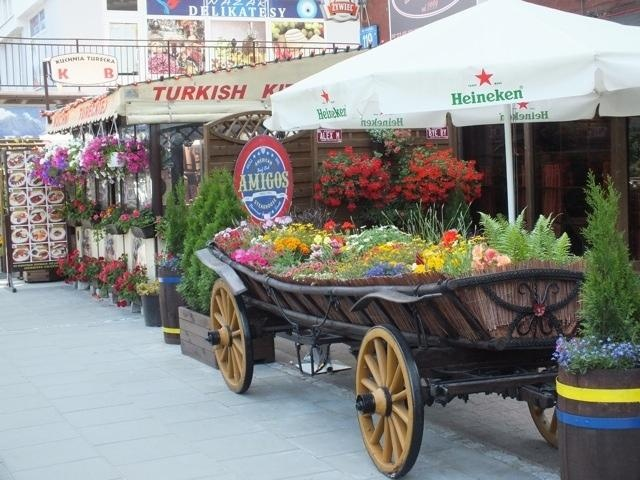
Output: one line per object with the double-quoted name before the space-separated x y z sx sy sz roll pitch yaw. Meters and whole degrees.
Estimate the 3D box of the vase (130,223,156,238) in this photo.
"vase" -2.650 -0.121 9.581 0.495 0.221 0.161 3 6 40

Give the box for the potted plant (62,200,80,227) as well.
"potted plant" -4.566 -0.506 11.764 0.232 0.295 0.394 -16 15 -25

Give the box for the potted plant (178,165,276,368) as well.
"potted plant" -1.105 0.258 6.887 0.730 2.009 1.240 -5 6 -36

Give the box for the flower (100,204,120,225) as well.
"flower" -3.415 -0.401 10.494 0.268 0.207 0.280 -22 2 27

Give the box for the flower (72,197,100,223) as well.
"flower" -4.231 -0.530 11.537 0.564 0.411 0.483 -5 13 -42

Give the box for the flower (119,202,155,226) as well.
"flower" -2.785 -0.365 9.722 0.397 0.314 0.723 -4 6 -31

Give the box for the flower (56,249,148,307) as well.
"flower" -3.580 0.578 10.636 0.847 0.991 3.559 -3 3 -31
